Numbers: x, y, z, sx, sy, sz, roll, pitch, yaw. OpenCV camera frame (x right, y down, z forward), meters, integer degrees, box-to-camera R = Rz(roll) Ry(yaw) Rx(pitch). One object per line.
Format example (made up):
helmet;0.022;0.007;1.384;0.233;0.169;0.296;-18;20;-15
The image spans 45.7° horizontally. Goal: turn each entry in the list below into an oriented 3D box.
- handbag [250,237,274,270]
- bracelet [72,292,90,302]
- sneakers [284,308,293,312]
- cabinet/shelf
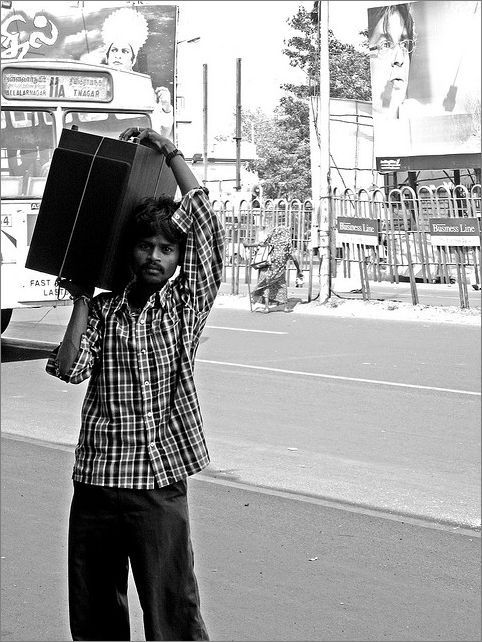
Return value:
handbag;0.591;-1.842;15.676;0.221;0.804;0.615;22;-27;-29
bracelet;-0.392;-0.058;1.405;0.031;0.029;0.026;-13;17;-14
sneakers;1.342;-0.275;15.853;0.186;0.097;0.260;7;8;44
cabinet/shelf;-0.405;-0.297;1.575;0.296;0.383;0.325;20;6;36
